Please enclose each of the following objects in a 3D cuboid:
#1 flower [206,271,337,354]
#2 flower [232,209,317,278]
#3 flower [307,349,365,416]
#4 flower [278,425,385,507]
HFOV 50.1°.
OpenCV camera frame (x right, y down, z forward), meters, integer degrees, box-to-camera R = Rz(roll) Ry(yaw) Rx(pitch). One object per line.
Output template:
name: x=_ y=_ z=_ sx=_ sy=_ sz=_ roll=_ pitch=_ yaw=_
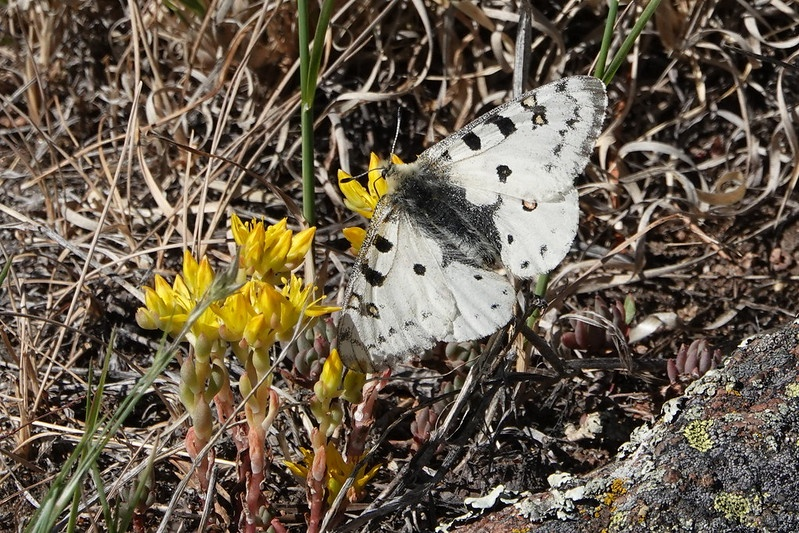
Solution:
flower: x=-0.545 y=0.189 z=3.697 sx=0.464 sy=0.260 sz=0.510 roll=-17 pitch=13 yaw=-3
flower: x=-0.619 y=-0.080 z=3.866 sx=0.300 sy=0.303 sz=0.278 roll=9 pitch=90 yaw=12
flower: x=-0.275 y=0.551 z=3.783 sx=0.173 sy=0.371 sz=0.239 roll=34 pitch=52 yaw=27
flower: x=-0.301 y=0.921 z=3.895 sx=0.408 sy=0.369 sz=0.309 roll=13 pitch=46 yaw=7
